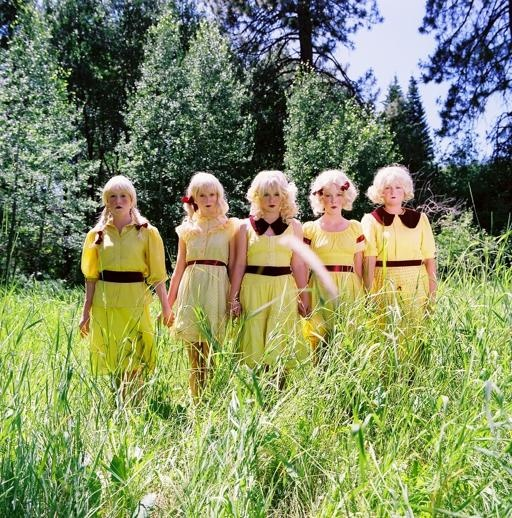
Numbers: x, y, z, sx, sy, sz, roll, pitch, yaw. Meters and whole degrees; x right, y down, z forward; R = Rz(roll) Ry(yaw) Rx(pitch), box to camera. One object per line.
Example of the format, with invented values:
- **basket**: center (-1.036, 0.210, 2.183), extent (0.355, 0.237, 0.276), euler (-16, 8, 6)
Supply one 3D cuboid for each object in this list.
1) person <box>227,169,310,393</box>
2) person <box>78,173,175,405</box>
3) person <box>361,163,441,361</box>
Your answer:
- **person**: center (0.079, 0.084, 3.421), extent (0.501, 1.407, 1.162), euler (0, 0, 5)
- **person**: center (-0.768, 0.133, 3.455), extent (0.569, 1.329, 1.060), euler (0, 0, -19)
- **person**: center (1.016, 0.086, 4.000), extent (0.432, 1.576, 0.317), euler (-3, 26, 13)
